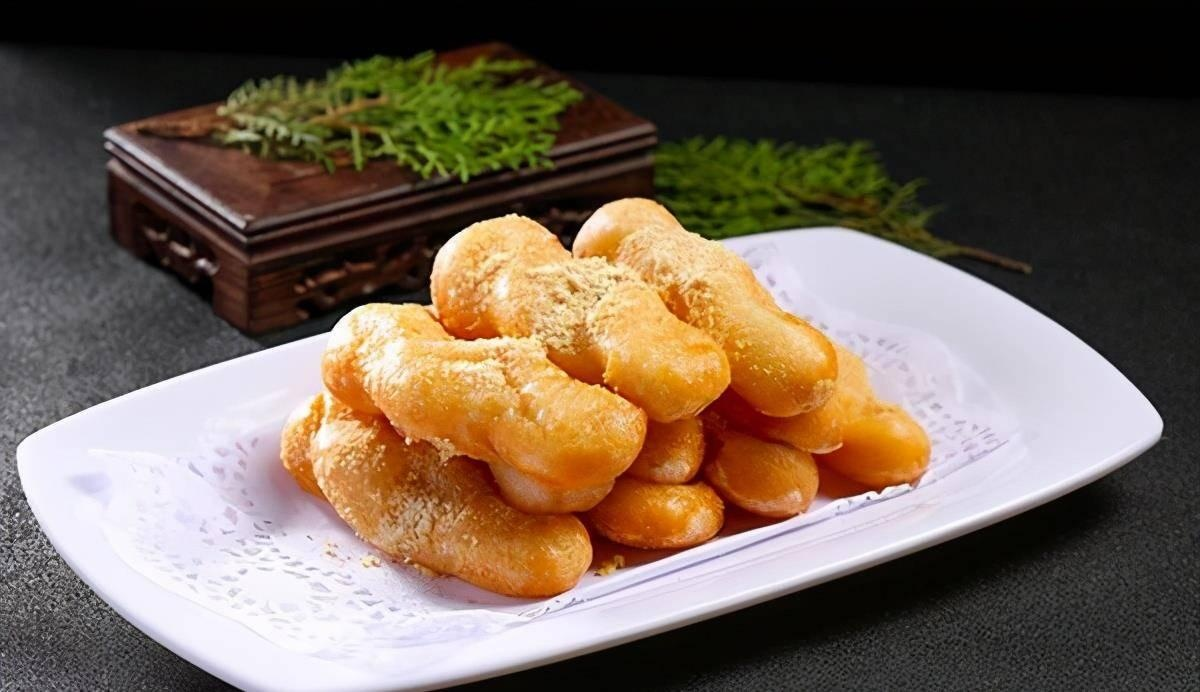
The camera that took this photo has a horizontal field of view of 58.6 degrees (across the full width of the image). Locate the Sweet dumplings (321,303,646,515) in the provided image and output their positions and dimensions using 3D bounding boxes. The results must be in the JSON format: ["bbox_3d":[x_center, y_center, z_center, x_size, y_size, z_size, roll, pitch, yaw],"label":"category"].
[{"bbox_3d":[-0.117,0.049,1.109,0.391,0.146,0.210,21,20,28],"label":"Sweet dumplings"}]

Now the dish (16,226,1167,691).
[{"bbox_3d":[0.068,0.145,1.069,0.939,0.090,0.543,-13,32,-23],"label":"dish"}]

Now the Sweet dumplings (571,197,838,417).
[{"bbox_3d":[0.093,-0.040,1.196,0.333,0.115,0.147,38,41,16],"label":"Sweet dumplings"}]

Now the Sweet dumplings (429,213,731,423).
[{"bbox_3d":[-0.029,-0.036,1.127,0.335,0.121,0.184,29,36,28],"label":"Sweet dumplings"}]
